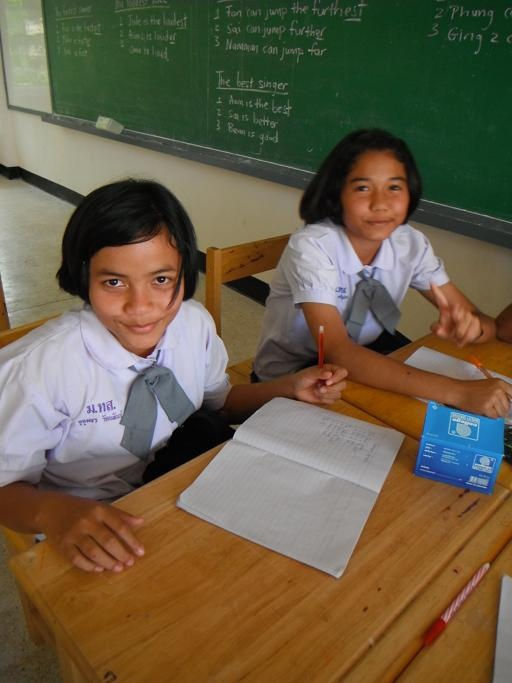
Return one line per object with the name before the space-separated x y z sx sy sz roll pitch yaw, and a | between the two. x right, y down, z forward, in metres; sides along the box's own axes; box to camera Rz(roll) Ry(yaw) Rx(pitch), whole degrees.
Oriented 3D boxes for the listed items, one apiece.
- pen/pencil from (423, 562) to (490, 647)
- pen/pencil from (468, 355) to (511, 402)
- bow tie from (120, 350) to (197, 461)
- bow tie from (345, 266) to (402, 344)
pen/pencil | 0.214 0.284 0.561 0.013 0.013 0.123 23 27 33
pen/pencil | 0.490 0.074 1.092 0.113 0.016 0.016 40 12 2
bow tie | -0.166 0.115 0.885 0.017 0.135 0.150 17 30 40
bow tie | 0.298 -0.102 1.347 0.145 0.192 0.045 -24 23 -2
